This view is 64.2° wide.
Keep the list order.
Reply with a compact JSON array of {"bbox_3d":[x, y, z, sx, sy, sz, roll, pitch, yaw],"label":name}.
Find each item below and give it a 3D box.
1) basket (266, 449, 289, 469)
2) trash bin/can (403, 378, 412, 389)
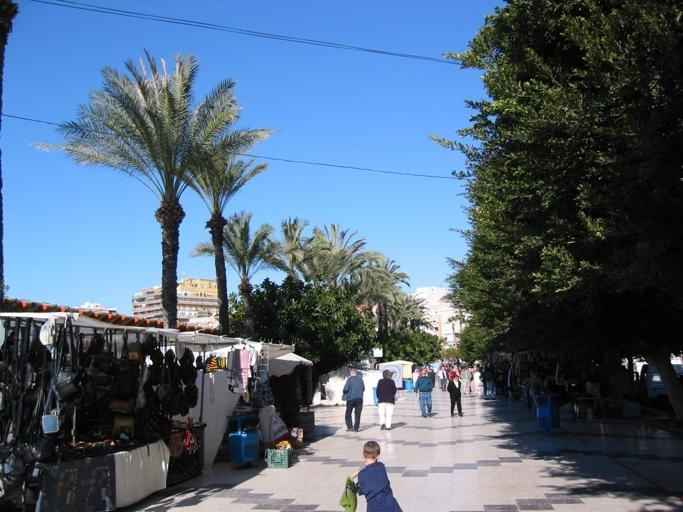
[{"bbox_3d":[-1.348,4.301,11.567,0.473,0.410,0.274,-2,-14,-8],"label":"basket"},{"bbox_3d":[5.406,10.470,44.523,0.828,1.022,0.875,0,-14,-2],"label":"trash bin/can"}]
